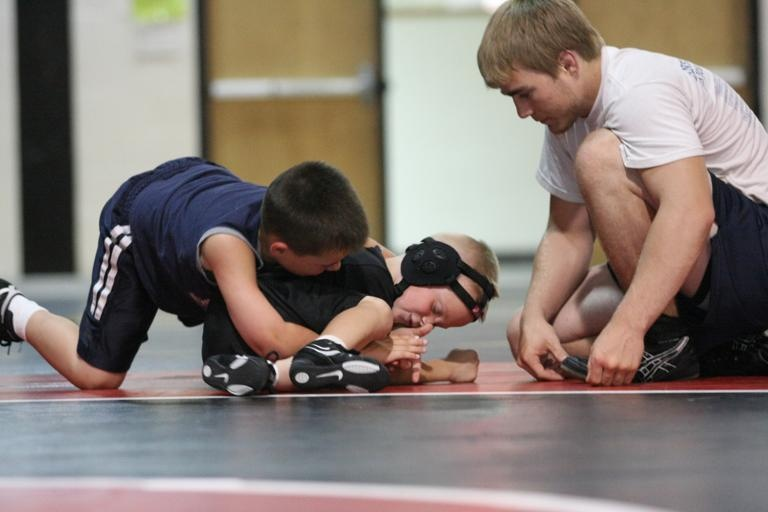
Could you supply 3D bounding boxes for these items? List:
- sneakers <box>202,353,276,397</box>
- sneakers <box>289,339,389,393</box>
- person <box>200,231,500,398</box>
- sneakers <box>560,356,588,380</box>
[{"bbox_3d":[-0.425,0.355,2.830,0.213,0.129,0.114,-1,10,-1],"label":"sneakers"},{"bbox_3d":[-0.143,0.329,2.844,0.309,0.124,0.141,6,41,-1],"label":"sneakers"},{"bbox_3d":[-0.084,0.159,3.003,0.818,0.351,0.471,1,3,-39],"label":"person"},{"bbox_3d":[0.601,0.349,2.945,0.060,0.064,0.126,-5,11,-22],"label":"sneakers"}]
